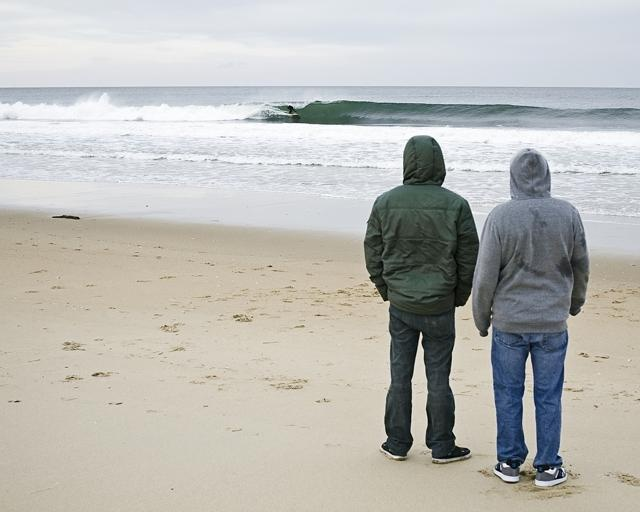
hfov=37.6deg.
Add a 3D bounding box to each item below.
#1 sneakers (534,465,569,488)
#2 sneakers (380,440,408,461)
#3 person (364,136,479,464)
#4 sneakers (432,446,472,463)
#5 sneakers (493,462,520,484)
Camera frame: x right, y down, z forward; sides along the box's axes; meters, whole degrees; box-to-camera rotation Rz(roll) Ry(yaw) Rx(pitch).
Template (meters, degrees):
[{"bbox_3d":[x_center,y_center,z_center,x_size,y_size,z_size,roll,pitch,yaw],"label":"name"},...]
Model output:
[{"bbox_3d":[1.539,1.483,6.279,0.282,0.083,0.102,-4,5,-33],"label":"sneakers"},{"bbox_3d":[0.522,1.384,6.665,0.115,0.069,0.195,1,10,-16],"label":"sneakers"},{"bbox_3d":[0.697,0.299,6.591,0.805,2.284,0.454,13,14,42],"label":"person"},{"bbox_3d":[0.945,1.398,6.637,0.316,0.077,0.105,-3,7,-22],"label":"sneakers"},{"bbox_3d":[1.262,1.470,6.321,0.106,0.068,0.207,1,4,0],"label":"sneakers"}]
